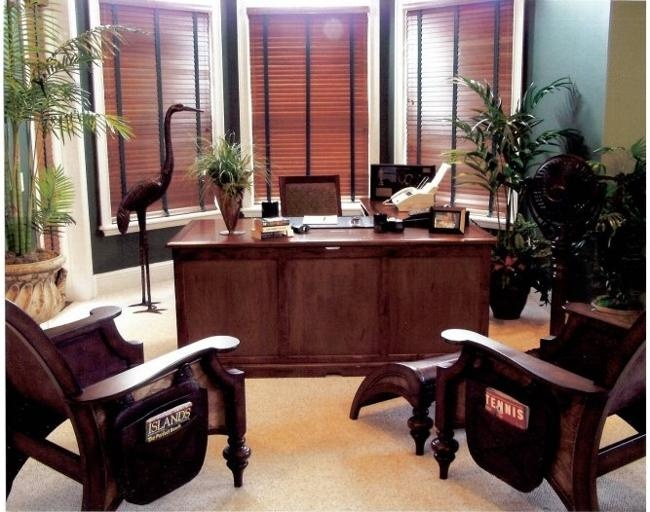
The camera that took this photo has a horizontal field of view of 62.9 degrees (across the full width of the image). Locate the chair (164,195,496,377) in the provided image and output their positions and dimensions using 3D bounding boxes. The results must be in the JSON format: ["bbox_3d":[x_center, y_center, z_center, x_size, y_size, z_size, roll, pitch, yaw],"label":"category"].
[{"bbox_3d":[0.017,0.244,3.667,1.614,0.856,0.928,-1,17,-3],"label":"chair"}]

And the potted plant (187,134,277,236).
[{"bbox_3d":[-0.612,-0.466,3.452,0.451,0.550,0.518,4,12,5],"label":"potted plant"}]

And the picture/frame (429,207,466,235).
[{"bbox_3d":[0.770,-0.220,3.347,0.147,0.137,0.061,3,4,14],"label":"picture/frame"}]

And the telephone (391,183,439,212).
[{"bbox_3d":[0.706,-0.444,4.241,0.250,0.171,0.264,-2,13,-2],"label":"telephone"}]
